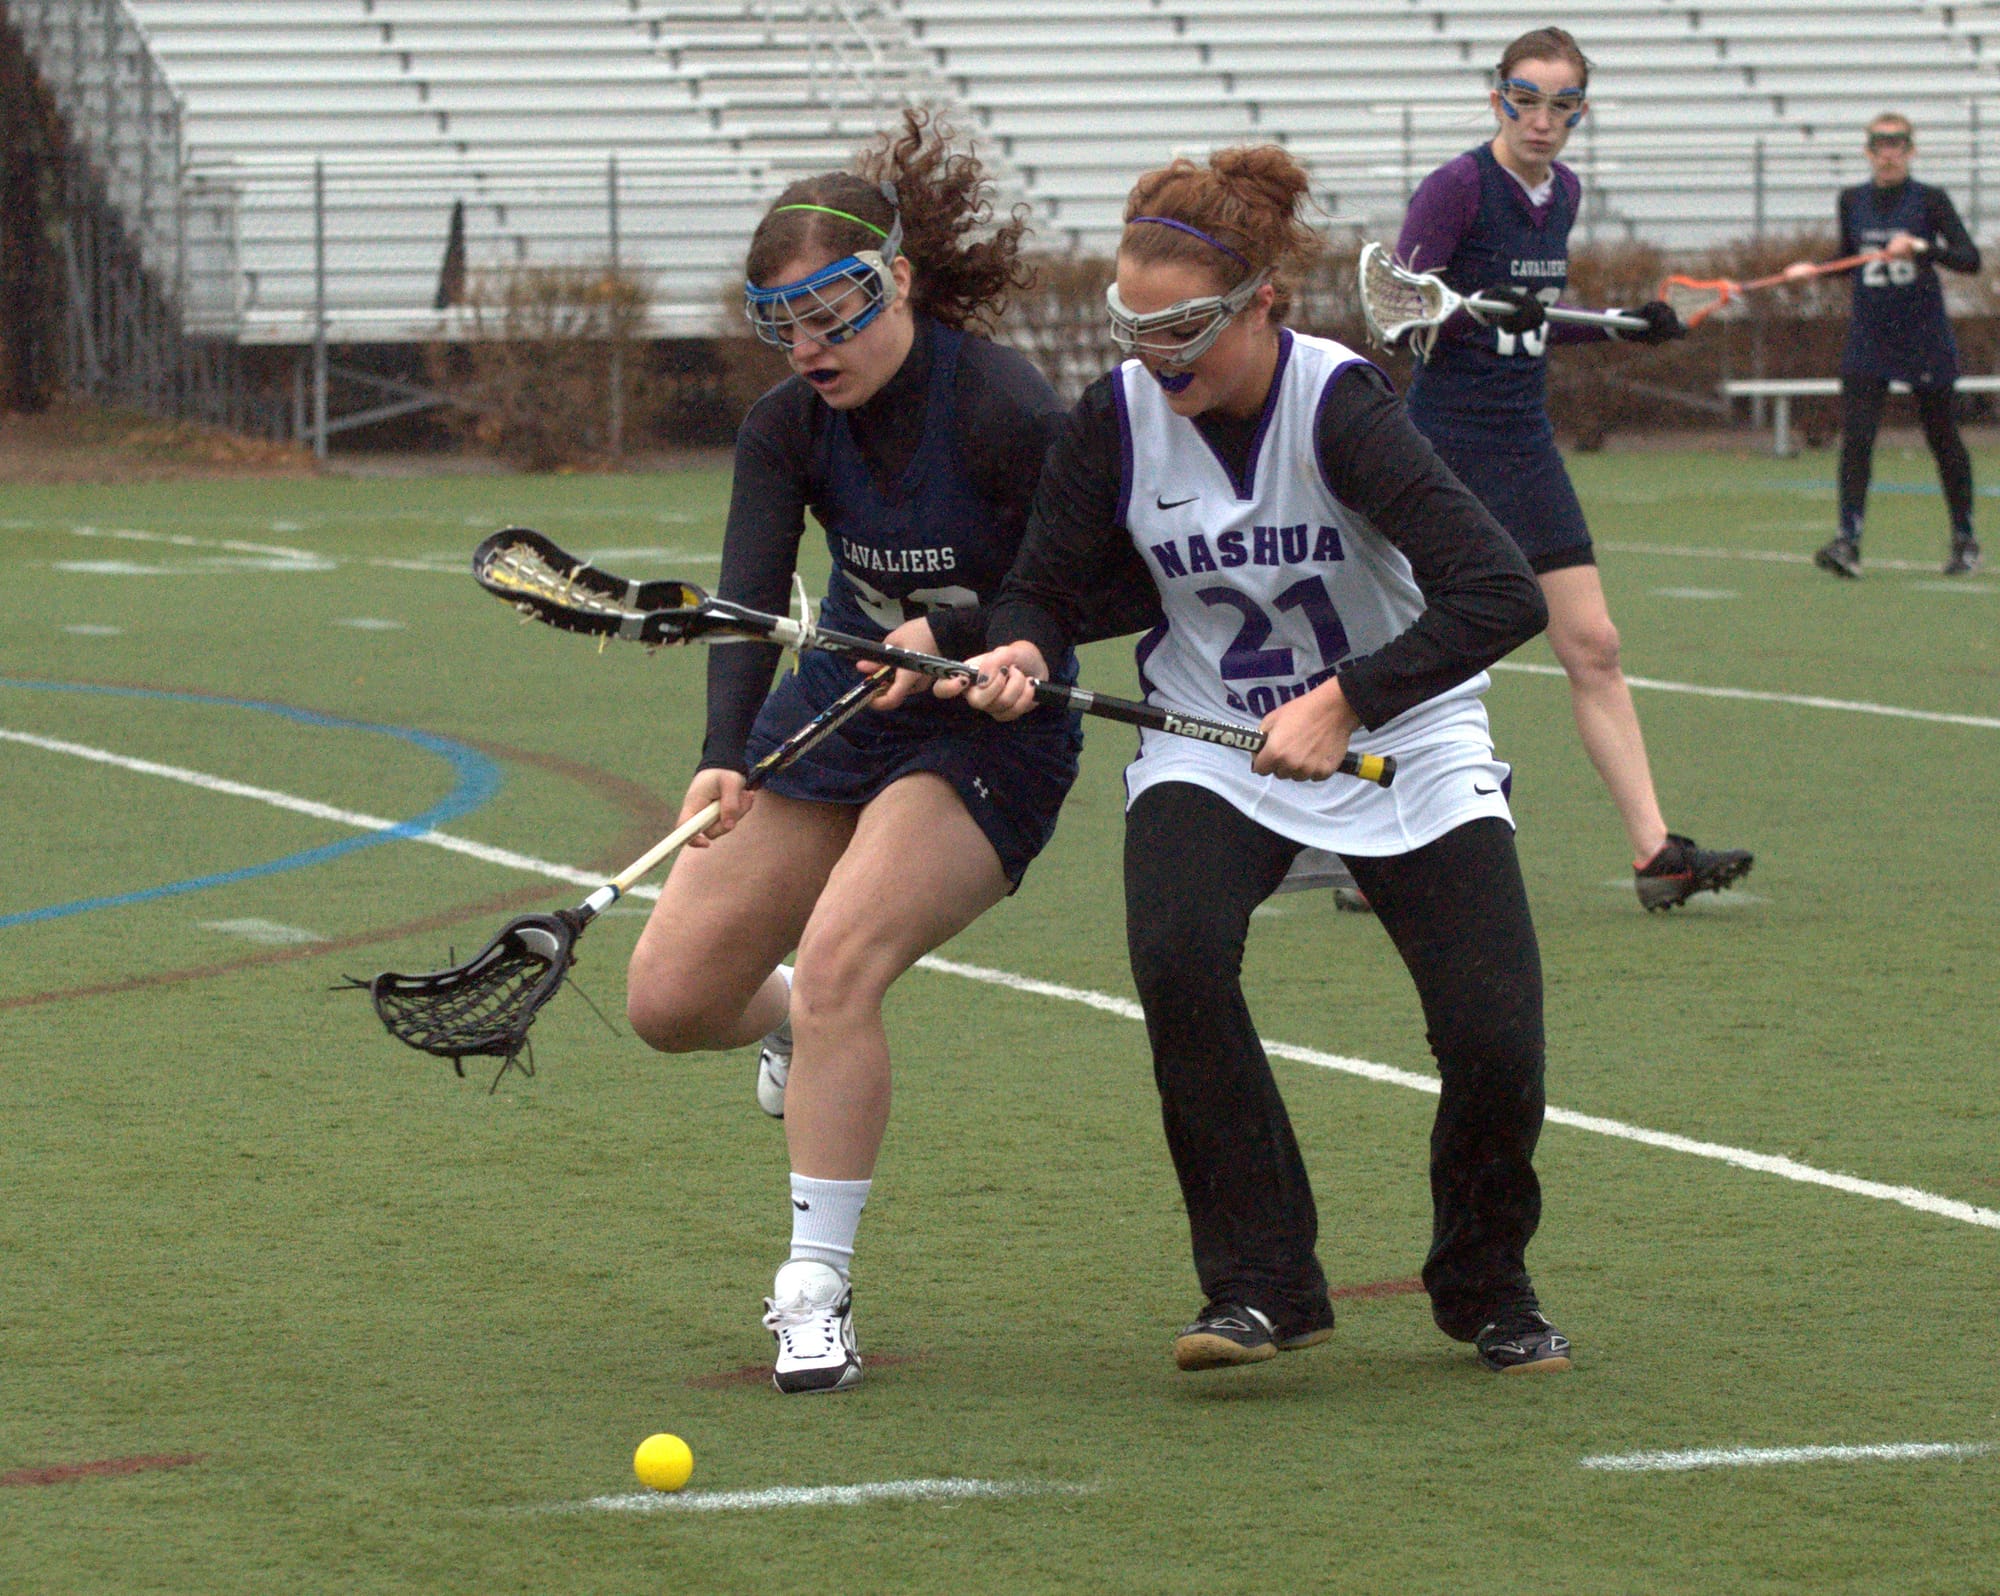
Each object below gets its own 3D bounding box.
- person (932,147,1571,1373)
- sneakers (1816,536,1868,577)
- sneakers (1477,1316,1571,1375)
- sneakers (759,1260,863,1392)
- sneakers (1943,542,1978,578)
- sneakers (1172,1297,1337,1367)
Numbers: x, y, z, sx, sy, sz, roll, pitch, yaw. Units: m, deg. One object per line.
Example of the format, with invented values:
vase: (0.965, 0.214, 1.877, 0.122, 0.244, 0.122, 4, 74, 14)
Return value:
person: (0.428, -0.060, 4.660, 0.972, 1.882, 0.591, 2, 12, 12)
sneakers: (4.416, -1.267, 15.773, 0.153, 0.174, 0.401, 2, 5, 28)
sneakers: (0.799, 0.844, 4.572, 0.154, 0.061, 0.065, 2, -1, 9)
sneakers: (-0.289, 0.816, 4.526, 0.104, 0.087, 0.223, -5, 8, -4)
sneakers: (5.125, -1.284, 15.918, 0.143, 0.153, 0.398, 3, 13, 21)
sneakers: (0.383, 0.833, 4.623, 0.096, 0.065, 0.249, -14, -15, 35)
